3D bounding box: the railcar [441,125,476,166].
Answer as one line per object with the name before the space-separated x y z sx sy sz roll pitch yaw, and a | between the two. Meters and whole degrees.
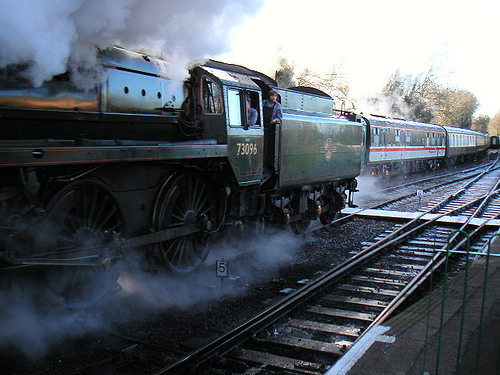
railcar | 23.070 -4.368 35.135 1.207 4.414 13.508 5 11 41
